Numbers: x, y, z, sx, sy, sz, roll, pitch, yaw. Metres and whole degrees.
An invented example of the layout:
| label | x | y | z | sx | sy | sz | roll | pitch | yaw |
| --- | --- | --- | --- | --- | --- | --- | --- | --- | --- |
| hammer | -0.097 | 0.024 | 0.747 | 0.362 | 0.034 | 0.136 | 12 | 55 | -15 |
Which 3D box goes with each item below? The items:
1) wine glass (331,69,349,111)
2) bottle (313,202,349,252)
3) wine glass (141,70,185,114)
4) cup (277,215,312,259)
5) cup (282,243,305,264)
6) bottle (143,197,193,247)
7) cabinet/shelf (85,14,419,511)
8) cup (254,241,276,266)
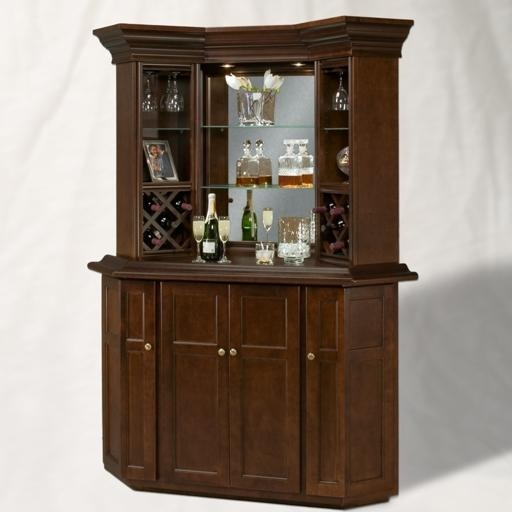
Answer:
| label | x | y | z | sx | sy | sz | roll | pitch | yaw |
| --- | --- | --- | --- | --- | --- | --- | --- | --- | --- |
| wine glass | 0.403 | -0.783 | 3.218 | 0.074 | 0.185 | 0.229 | 1 | 14 | 6 |
| bottle | 0.381 | -0.129 | 3.274 | 0.149 | 0.257 | 0.256 | -5 | 14 | -17 |
| wine glass | -0.476 | -0.845 | 3.495 | 0.235 | 0.214 | 0.098 | -1 | 3 | -23 |
| cup | 0.194 | -0.089 | 3.310 | 0.166 | 0.218 | 0.187 | 1 | -2 | -5 |
| cup | 0.184 | -0.017 | 3.345 | 0.097 | 0.072 | 0.095 | 1 | -4 | 0 |
| bottle | -0.465 | -0.186 | 3.545 | 0.216 | 0.244 | 0.074 | -9 | 1 | -16 |
| cabinet/shelf | 0.008 | 0.022 | 3.398 | 1.561 | 2.271 | 0.771 | 3 | 14 | 14 |
| cup | 0.052 | -0.018 | 3.325 | 0.096 | 0.107 | 0.096 | 1 | 3 | 0 |
